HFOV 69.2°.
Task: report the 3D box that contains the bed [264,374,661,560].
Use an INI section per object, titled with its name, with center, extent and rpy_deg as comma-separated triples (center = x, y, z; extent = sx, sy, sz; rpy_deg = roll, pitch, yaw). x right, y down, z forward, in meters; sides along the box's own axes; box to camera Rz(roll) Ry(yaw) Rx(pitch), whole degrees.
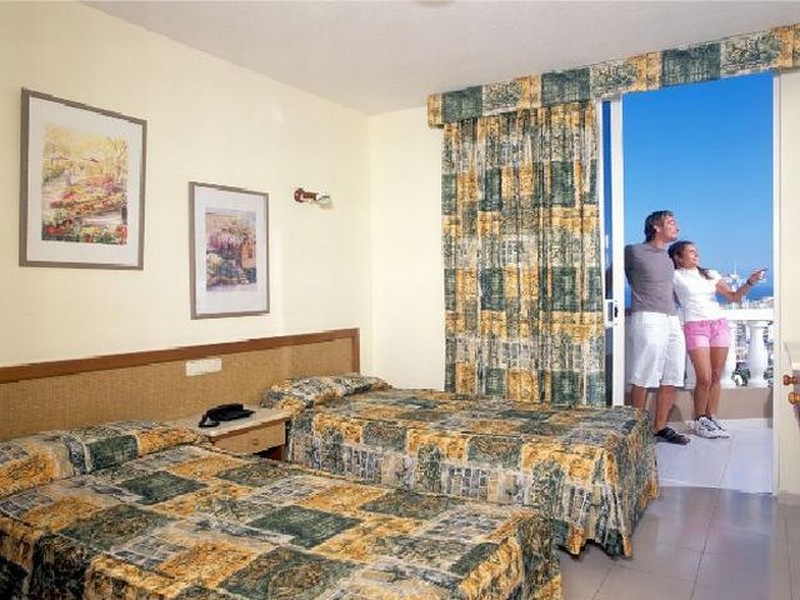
[bed]
center = 0.374, 1.005, 4.096
extent = 2.246, 0.547, 1.238
rpy_deg = 1, 4, 27

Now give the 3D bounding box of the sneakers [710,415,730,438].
[sneakers]
center = 3.297, 1.304, 6.032
extent = 0.190, 0.190, 0.446
rpy_deg = 5, 10, 28

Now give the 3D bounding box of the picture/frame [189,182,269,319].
[picture/frame]
center = -1.348, -0.381, 4.534
extent = 0.213, 1.038, 0.758
rpy_deg = 5, 11, 27

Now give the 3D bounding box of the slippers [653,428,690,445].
[slippers]
center = 2.716, 1.378, 5.844
extent = 0.136, 0.091, 0.263
rpy_deg = -3, -1, -44
